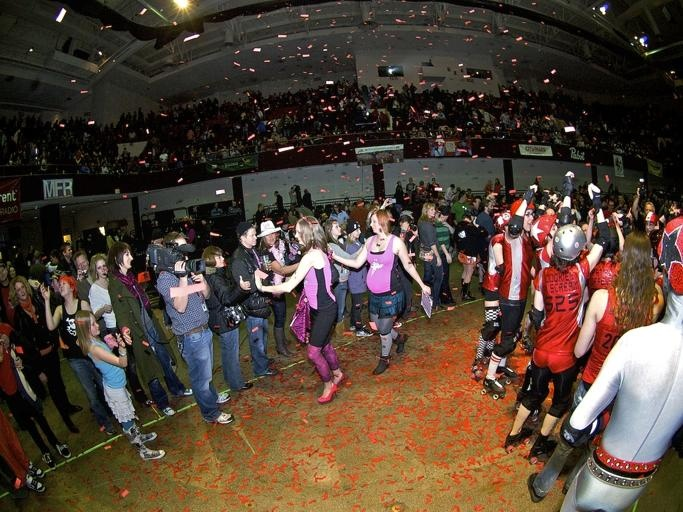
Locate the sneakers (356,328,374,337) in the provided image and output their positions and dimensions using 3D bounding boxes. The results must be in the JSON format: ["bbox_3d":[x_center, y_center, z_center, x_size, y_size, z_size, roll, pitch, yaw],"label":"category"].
[{"bbox_3d":[0.496,1.534,7.706,0.349,0.154,0.139,-1,2,1],"label":"sneakers"}]

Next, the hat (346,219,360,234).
[{"bbox_3d":[0.217,-0.596,7.513,0.198,0.210,0.266,-21,-12,-45],"label":"hat"}]

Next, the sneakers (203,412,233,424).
[{"bbox_3d":[-1.707,2.226,5.228,0.389,0.181,0.155,1,22,-11],"label":"sneakers"}]

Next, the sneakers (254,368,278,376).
[{"bbox_3d":[-1.273,1.897,6.304,0.356,0.152,0.152,-7,7,-14],"label":"sneakers"}]

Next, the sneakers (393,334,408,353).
[{"bbox_3d":[1.059,1.567,6.740,0.288,0.417,0.153,5,8,-18],"label":"sneakers"}]

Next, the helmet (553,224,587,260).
[{"bbox_3d":[2.275,-0.110,3.718,0.385,0.331,0.277,-11,20,-40],"label":"helmet"}]

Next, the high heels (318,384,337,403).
[{"bbox_3d":[-0.172,2.017,5.523,0.151,0.310,0.172,40,4,-27],"label":"high heels"}]

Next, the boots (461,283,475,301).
[{"bbox_3d":[3.058,0.816,9.136,0.364,0.449,0.380,-1,9,-3],"label":"boots"}]

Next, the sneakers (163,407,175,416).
[{"bbox_3d":[-2.597,2.288,5.611,0.223,0.099,0.084,-13,-8,39],"label":"sneakers"}]

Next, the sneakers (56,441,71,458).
[{"bbox_3d":[-3.761,2.555,5.036,0.312,0.115,0.116,35,20,34],"label":"sneakers"}]

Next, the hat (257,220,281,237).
[{"bbox_3d":[-1.172,-0.434,5.873,0.261,0.119,0.295,-21,-2,-31],"label":"hat"}]

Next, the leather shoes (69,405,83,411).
[{"bbox_3d":[-4.373,2.466,6.127,0.121,0.073,0.178,-18,-14,21],"label":"leather shoes"}]

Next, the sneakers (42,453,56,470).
[{"bbox_3d":[-3.856,2.656,4.903,0.090,0.243,0.103,-41,-9,-47],"label":"sneakers"}]

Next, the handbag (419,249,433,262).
[{"bbox_3d":[1.792,-0.022,7.802,0.197,0.192,0.259,1,5,33],"label":"handbag"}]
